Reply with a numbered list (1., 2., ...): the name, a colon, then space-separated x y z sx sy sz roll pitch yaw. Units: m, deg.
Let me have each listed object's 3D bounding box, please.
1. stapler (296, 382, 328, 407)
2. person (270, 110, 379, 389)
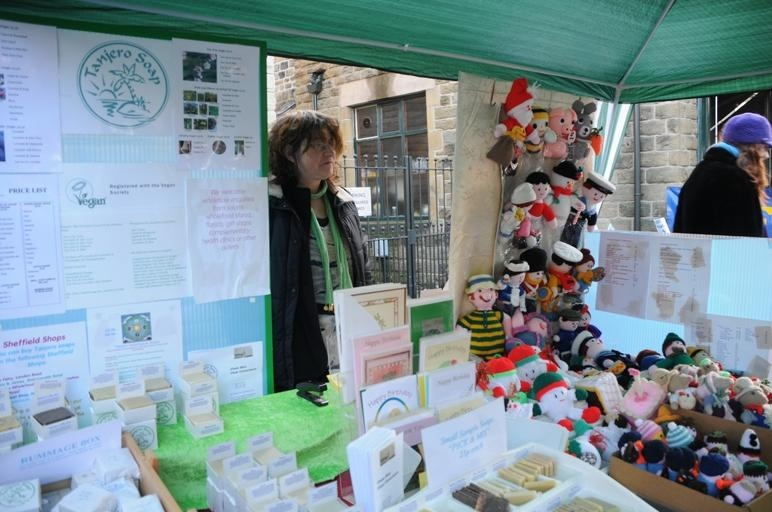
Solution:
1. stapler: -0.360 0.682 2.570 0.061 0.092 0.235 1 -1 -38
2. person: -0.481 -0.085 3.253 0.533 1.705 1.047 -3 7 13
